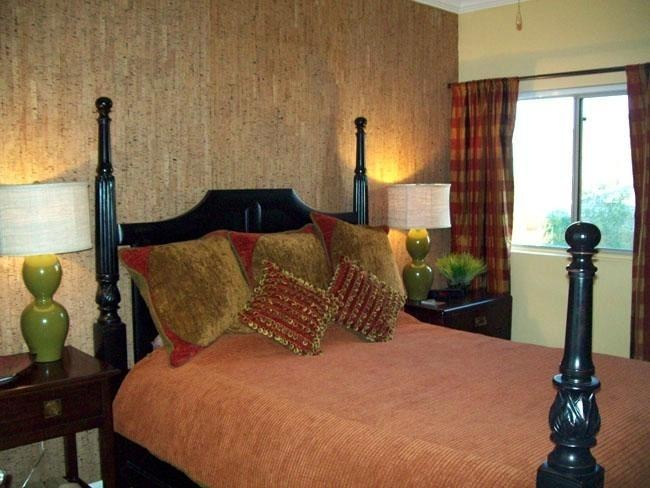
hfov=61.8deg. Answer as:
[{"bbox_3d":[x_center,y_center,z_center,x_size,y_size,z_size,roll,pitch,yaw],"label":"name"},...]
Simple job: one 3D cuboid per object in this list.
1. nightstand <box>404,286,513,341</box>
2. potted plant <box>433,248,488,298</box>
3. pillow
[{"bbox_3d":[0.984,0.331,3.926,0.402,0.605,0.709,6,9,44],"label":"nightstand"},{"bbox_3d":[1.036,0.209,4.172,0.353,0.334,0.328,8,11,33],"label":"potted plant"},{"bbox_3d":[-0.264,0.200,2.768,1.450,0.572,0.695,-4,10,-23],"label":"pillow"}]
